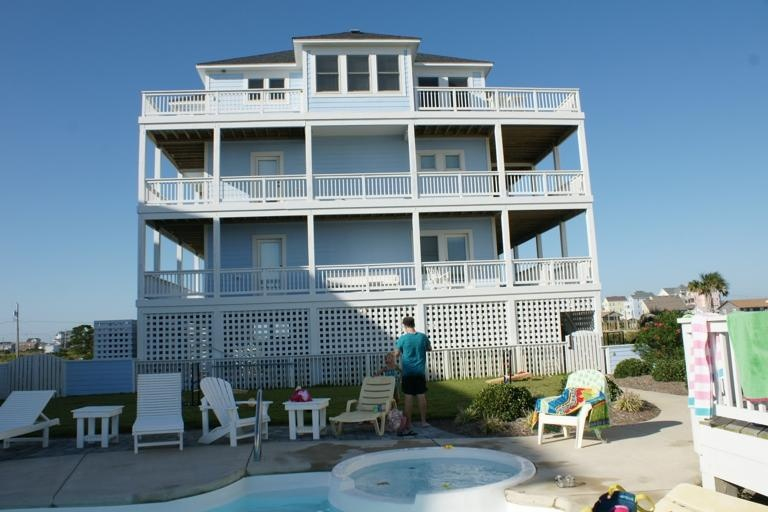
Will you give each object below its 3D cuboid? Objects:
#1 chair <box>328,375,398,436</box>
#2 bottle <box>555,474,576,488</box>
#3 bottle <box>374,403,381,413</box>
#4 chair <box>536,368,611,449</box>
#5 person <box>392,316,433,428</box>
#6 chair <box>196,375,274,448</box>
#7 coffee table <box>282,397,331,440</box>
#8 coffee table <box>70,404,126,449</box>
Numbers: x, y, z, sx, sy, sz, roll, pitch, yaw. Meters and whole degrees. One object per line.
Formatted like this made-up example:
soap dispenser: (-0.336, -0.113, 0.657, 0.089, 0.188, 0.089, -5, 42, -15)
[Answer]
chair: (-0.563, 4.930, 24.124, 1.560, 1.515, 2.461, -3, 1, 19)
bottle: (5.012, 6.259, 20.578, 0.563, 0.294, 0.386, -3, -9, 9)
bottle: (-0.223, 4.989, 24.173, 0.205, 0.173, 0.196, 2, -4, -10)
chair: (5.883, 4.753, 23.090, 2.127, 2.315, 1.294, -4, -10, 15)
person: (0.909, 3.890, 24.881, 1.347, 3.547, 1.184, 3, -9, -16)
chair: (-4.983, 5.029, 24.079, 2.061, 1.783, 1.681, -2, -2, 14)
coffee table: (-2.532, 5.352, 24.413, 1.278, 1.188, 1.440, -1, -4, 2)
coffee table: (-9.300, 5.523, 23.897, 1.451, 1.262, 1.299, 4, -11, -33)
